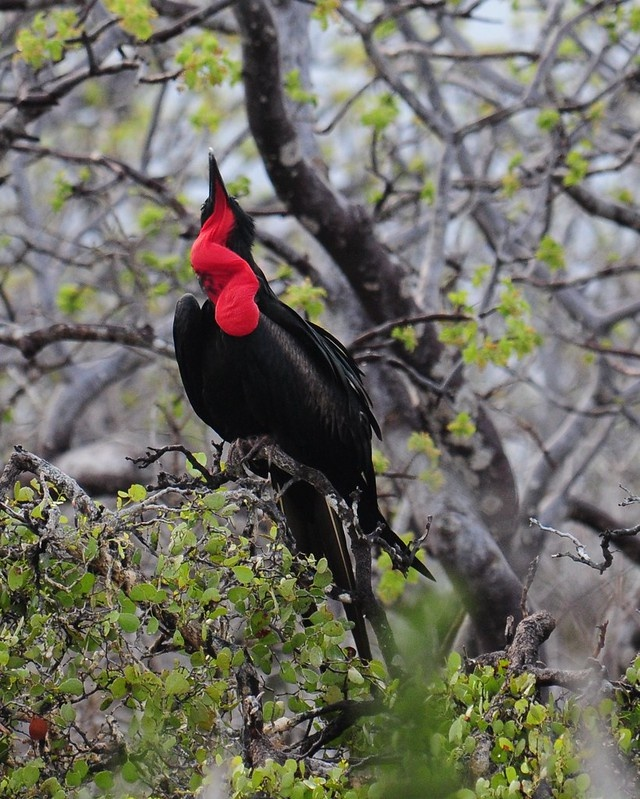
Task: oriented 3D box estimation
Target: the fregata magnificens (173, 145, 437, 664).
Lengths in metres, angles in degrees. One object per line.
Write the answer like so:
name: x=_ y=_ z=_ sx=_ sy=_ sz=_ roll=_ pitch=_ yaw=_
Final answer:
fregata magnificens: x=-0.139 y=0.127 z=7.079 sx=0.816 sy=2.630 sz=1.087 roll=-23 pitch=-27 yaw=1
